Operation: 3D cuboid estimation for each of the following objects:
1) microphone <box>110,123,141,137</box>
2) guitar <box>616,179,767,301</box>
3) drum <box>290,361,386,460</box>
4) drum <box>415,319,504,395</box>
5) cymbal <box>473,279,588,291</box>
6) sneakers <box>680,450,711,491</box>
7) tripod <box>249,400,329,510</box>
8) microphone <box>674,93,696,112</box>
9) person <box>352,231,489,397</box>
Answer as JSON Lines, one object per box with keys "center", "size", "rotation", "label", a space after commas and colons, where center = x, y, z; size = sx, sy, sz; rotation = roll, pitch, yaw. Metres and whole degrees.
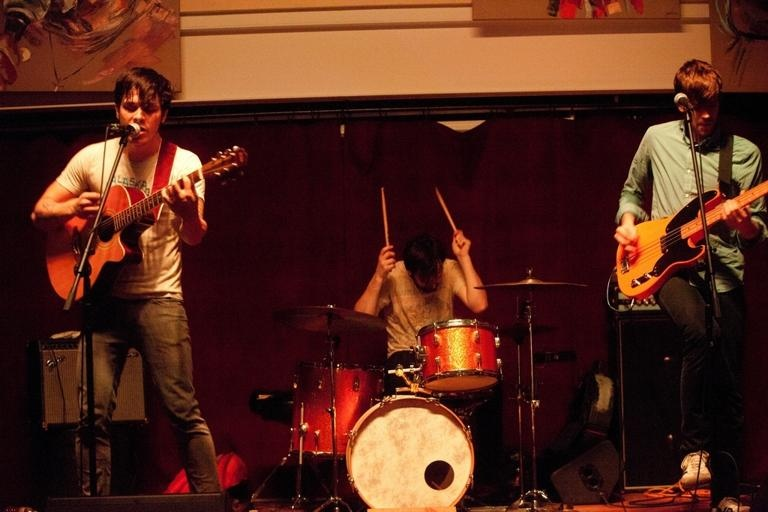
{"center": [-1.662, -0.839, 5.634], "size": [0.263, 0.088, 0.080], "rotation": [-3, 2, -42], "label": "microphone"}
{"center": [1.933, -0.021, 5.911], "size": [0.156, 0.564, 1.389], "rotation": [9, -36, -32], "label": "guitar"}
{"center": [-0.359, 1.244, 6.806], "size": [0.615, 0.716, 0.687], "rotation": [-1, -7, 8], "label": "drum"}
{"center": [0.563, 0.793, 6.259], "size": [0.472, 0.388, 0.522], "rotation": [0, -12, -8], "label": "drum"}
{"center": [1.212, 0.219, 6.640], "size": [0.686, 0.103, 0.901], "rotation": [-1, -2, 31], "label": "cymbal"}
{"center": [2.312, 1.654, 6.402], "size": [0.190, 0.266, 0.573], "rotation": [-17, -23, 15], "label": "sneakers"}
{"center": [-0.736, 1.748, 6.975], "size": [0.697, 1.112, 0.877], "rotation": [4, -15, 0], "label": "tripod"}
{"center": [1.978, -1.037, 5.646], "size": [0.098, 0.145, 0.106], "rotation": [-1, -1, 22], "label": "microphone"}
{"center": [0.290, 0.581, 7.023], "size": [1.063, 1.664, 0.849], "rotation": [2, 18, -4], "label": "person"}
